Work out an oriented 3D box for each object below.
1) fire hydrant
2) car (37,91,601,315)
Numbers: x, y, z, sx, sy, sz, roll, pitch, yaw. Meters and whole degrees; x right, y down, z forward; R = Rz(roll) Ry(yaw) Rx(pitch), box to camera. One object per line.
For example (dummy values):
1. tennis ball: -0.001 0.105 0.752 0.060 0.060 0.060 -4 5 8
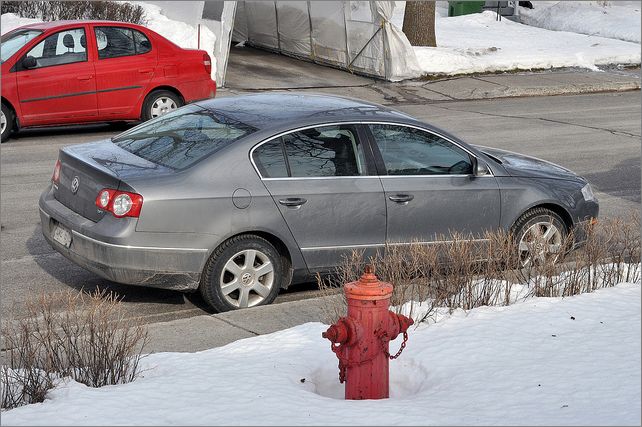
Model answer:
1. fire hydrant: 0.329 0.850 3.558 0.609 1.014 0.226 -3 11 3
2. car: 0.406 -0.084 6.230 6.439 1.891 2.680 -4 12 -20
